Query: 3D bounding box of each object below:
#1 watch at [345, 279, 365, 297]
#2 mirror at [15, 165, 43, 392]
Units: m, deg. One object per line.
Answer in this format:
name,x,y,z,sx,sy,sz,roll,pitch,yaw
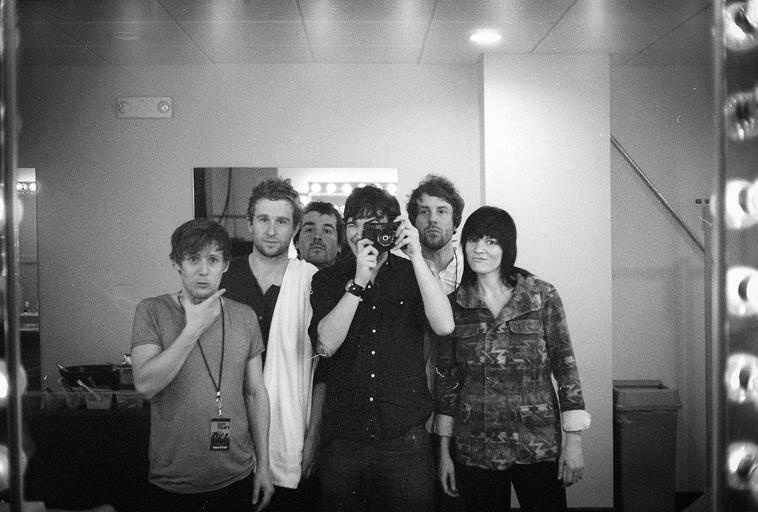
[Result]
watch,-0.111,0.179,3.213,0.093,0.071,0.101,22,-6,5
mirror,-1.741,0.181,3.075,0.123,0.972,0.057,0,-1,-8
